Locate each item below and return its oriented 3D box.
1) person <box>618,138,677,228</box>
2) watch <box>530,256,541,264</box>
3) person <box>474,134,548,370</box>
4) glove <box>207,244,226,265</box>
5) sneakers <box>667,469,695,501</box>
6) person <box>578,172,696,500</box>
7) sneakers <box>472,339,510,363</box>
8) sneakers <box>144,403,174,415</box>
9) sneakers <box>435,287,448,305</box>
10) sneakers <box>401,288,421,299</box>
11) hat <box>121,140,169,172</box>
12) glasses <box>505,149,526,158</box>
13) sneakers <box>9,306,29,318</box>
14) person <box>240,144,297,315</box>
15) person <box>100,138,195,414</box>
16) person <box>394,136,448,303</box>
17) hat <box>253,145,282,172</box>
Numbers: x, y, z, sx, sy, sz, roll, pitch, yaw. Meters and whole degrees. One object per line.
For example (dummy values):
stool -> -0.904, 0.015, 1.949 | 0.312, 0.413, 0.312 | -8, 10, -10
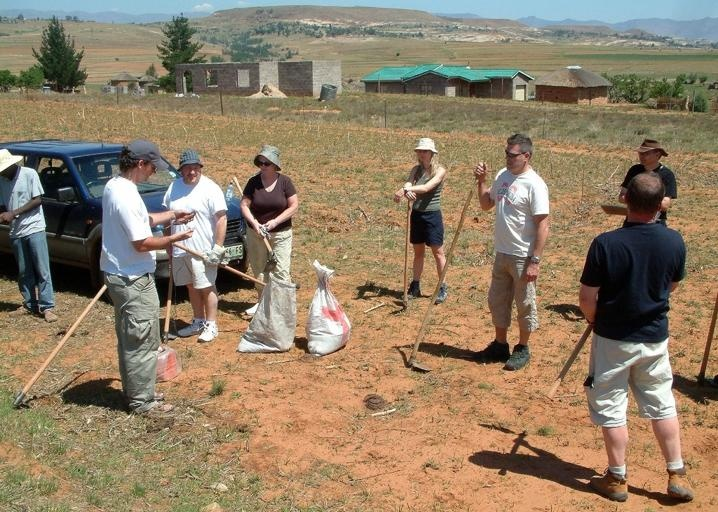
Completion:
person -> 3.740, -0.852, 9.705 | 0.774, 1.210, 0.694 | 14, 21, 40
watch -> 2.070, 0.044, 8.742 | 0.090, 0.086, 0.089 | 0, -6, -19
person -> 1.832, -0.019, 9.034 | 0.507, 2.882, 0.945 | -18, 28, -41
glove -> -1.838, -0.007, 9.491 | 0.120, 0.252, 0.225 | 10, 21, 23
sneakers -> 3.123, 2.237, 7.251 | 0.184, 0.477, 0.199 | -11, 51, 25
person -> 2.644, 0.806, 7.154 | 1.044, 3.101, 0.932 | 3, 21, 4
sneakers -> 1.669, 1.219, 9.482 | 0.520, 0.267, 0.216 | 1, 6, 2
sneakers -> -2.233, 1.707, 8.314 | 0.273, 0.102, 0.123 | -6, 18, -25
sneakers -> 1.235, 0.586, 11.076 | 0.166, 0.181, 0.434 | 3, 6, 17
sneakers -> 0.826, 0.567, 11.269 | 0.189, 0.148, 0.145 | 0, -3, -6
hat -> -2.350, -1.093, 8.091 | 0.393, 0.377, 0.506 | -5, 20, -16
glasses -> 1.802, -1.181, 8.661 | 0.226, 0.103, 0.102 | 9, 21, 22
sneakers -> -4.725, 0.776, 10.366 | 0.273, 0.148, 0.131 | 6, -1, -2
person -> -1.195, -0.545, 9.941 | 0.736, 1.817, 0.765 | -1, 21, -7
person -> -2.391, 0.262, 8.073 | 0.776, 2.955, 0.763 | -3, 21, -12
person -> 0.924, -0.499, 10.853 | 0.718, 2.401, 0.774 | 3, 21, 5
hat -> -1.203, -1.280, 9.852 | 0.383, 0.361, 0.357 | -7, 21, -24
